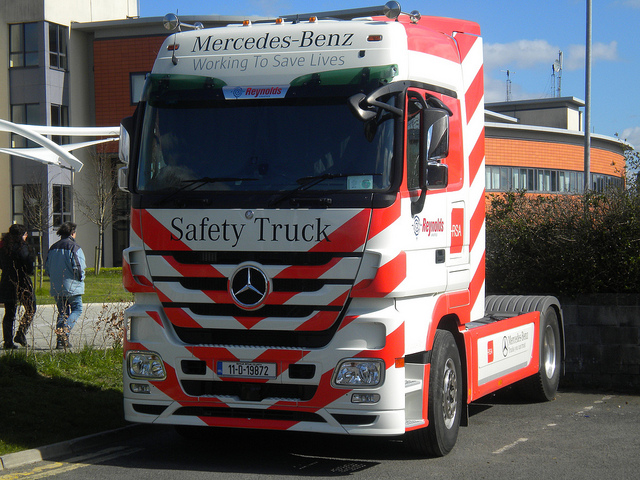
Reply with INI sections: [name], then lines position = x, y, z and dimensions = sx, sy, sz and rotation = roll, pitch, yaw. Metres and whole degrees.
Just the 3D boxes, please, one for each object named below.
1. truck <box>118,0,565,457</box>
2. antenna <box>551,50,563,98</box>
[truck]
position = 0.652, -0.062, 12.084
dimensions = 3.307, 3.986, 6.092
rotation = -1, -3, 27
[antenna]
position = 1.650, -1.160, 6.212
dimensions = 0.076, 0.326, 0.085
rotation = -7, 10, -43
